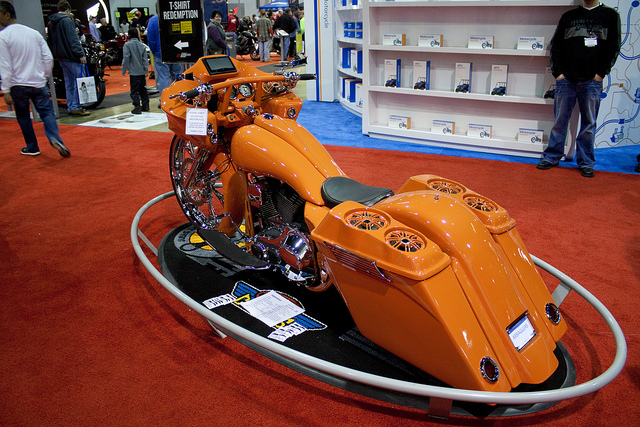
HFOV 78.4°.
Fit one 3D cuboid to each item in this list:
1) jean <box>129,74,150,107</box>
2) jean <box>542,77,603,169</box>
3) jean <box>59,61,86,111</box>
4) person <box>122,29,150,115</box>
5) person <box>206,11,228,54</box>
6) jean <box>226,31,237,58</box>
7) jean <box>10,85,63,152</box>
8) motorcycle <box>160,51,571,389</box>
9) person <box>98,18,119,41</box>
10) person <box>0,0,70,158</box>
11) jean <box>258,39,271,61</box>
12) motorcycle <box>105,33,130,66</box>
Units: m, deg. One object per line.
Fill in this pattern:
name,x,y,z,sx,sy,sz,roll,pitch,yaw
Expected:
jean,-3.998,-2.684,8.593,0.384,0.692,0.316,-16,26,-38
jean,3.472,-1.235,5.391,0.648,0.384,1.664,9,63,29
jean,-5.266,-2.732,8.319,0.322,1.070,0.602,-24,44,-34
person,-4.032,-3.089,8.551,0.519,1.701,0.684,-9,23,-24
person,-2.703,-4.689,10.173,0.504,1.051,0.816,-4,21,-13
jean,-3.566,-6.779,15.745,0.371,0.834,1.686,-3,21,-11
jean,-4.346,-1.429,5.975,0.469,0.992,0.454,-14,25,-35
motorcycle,-0.008,-0.140,3.026,3.338,1.433,1.189,27,32,32
person,-8.168,-7.003,14.948,0.610,0.846,1.568,-9,23,-26
person,-4.362,-1.812,5.874,0.705,1.891,0.667,-11,24,-29
jean,-2.319,-6.745,16.178,0.436,0.573,0.901,-5,49,-3
motorcycle,-7.622,-6.117,14.576,0.836,1.111,1.790,-9,23,-25
